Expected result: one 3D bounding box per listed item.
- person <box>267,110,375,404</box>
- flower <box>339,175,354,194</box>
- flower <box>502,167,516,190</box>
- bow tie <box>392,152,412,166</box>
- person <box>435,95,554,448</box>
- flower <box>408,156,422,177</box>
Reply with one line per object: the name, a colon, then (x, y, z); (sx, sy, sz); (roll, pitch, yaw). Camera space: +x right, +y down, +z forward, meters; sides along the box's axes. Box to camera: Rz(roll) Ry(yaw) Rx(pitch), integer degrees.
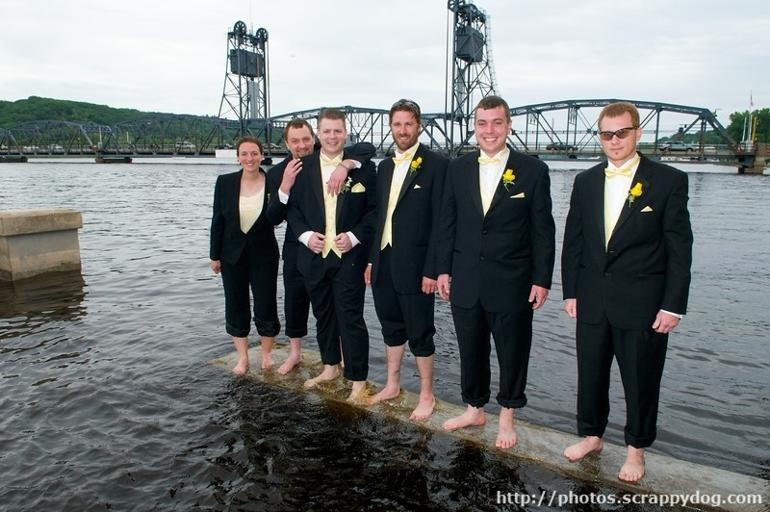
person: (-0.498, -0.031, 6.041); (1.060, 2.887, 0.690); (13, 21, 38)
flower: (-0.371, -0.715, 5.874); (0.160, 0.170, 0.043); (-11, 20, -35)
flower: (1.117, -0.684, 5.232); (0.133, 0.164, 0.071); (3, -5, -8)
bow tie: (0.179, -0.940, 5.638); (0.130, 0.119, 0.054); (21, 54, 39)
person: (0.986, 0.176, 5.346); (1.036, 3.172, 0.861); (6, 17, 18)
flower: (0.314, -0.865, 5.615); (0.128, 0.160, 0.066); (-13, 21, -40)
